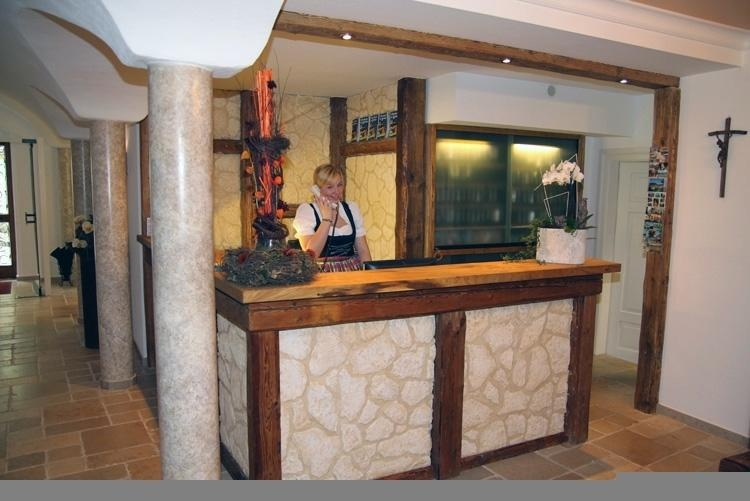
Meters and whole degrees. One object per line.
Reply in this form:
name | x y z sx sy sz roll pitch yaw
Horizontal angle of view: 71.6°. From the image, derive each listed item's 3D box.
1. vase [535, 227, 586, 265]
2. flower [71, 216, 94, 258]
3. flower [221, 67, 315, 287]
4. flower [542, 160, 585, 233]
vase | 1.799 -0.038 4.930 0.283 0.313 0.493 -1 3 -38
flower | -3.922 -0.190 7.034 0.255 0.469 0.775 -6 14 -29
flower | -0.753 -0.487 3.719 0.561 1.465 0.497 13 17 42
flower | 1.835 -0.490 4.935 0.493 0.606 0.400 5 -13 -16
